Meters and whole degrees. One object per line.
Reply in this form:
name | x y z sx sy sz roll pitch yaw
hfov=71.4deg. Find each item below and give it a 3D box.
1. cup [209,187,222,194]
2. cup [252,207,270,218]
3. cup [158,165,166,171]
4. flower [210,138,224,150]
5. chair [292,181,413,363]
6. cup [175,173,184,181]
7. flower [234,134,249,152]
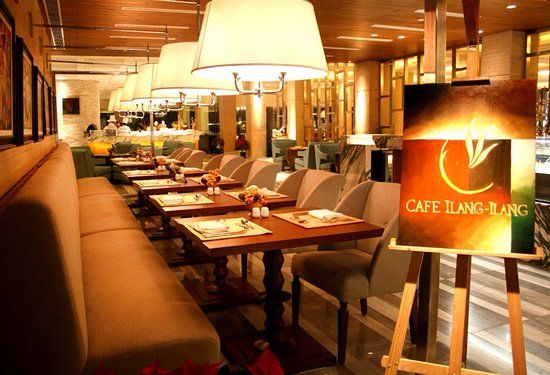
cup | -0.655 0.027 4.152 0.113 0.056 0.072 2 5 15
cup | -0.123 0.205 3.174 0.132 0.068 0.077 0 1 -12
cup | -2.041 -0.363 6.876 0.118 0.082 0.080 0 3 8
flower | -2.890 -2.302 19.872 0.755 0.713 0.737 -7 12 -43
chair | 0.645 0.589 3.732 1.255 1.707 1.289 -2 6 -29
cup | -1.364 -0.156 5.447 0.117 0.082 0.113 0 2 0
flower | -1.602 -2.103 18.646 0.642 0.685 0.833 -1 11 2
